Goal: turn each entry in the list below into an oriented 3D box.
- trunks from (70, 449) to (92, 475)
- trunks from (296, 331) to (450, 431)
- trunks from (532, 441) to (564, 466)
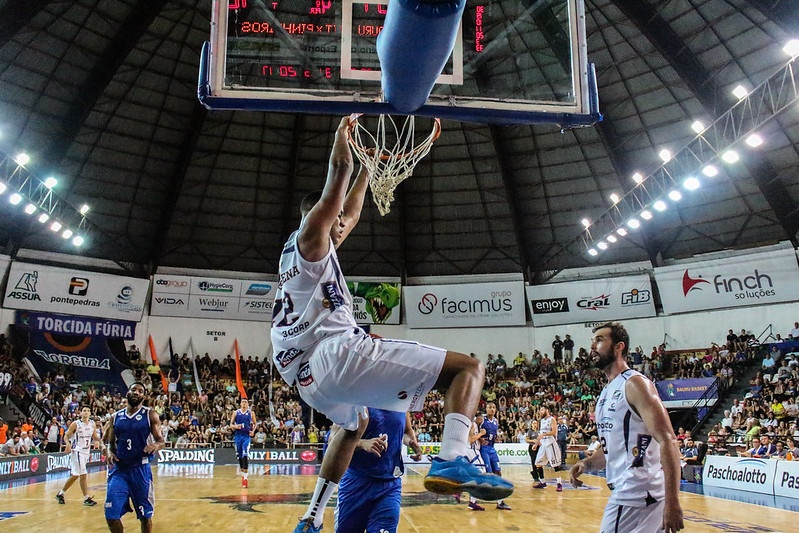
[{"bbox_3d":[-7.965,4.884,14.568,0.351,0.689,0.657,1,-4,-35],"label":"trunks"},{"bbox_3d":[-0.360,1.240,6.696,1.687,1.065,0.588,-4,-4,27],"label":"trunks"},{"bbox_3d":[4.459,5.463,17.282,0.938,0.736,0.546,1,-4,-35],"label":"trunks"}]
